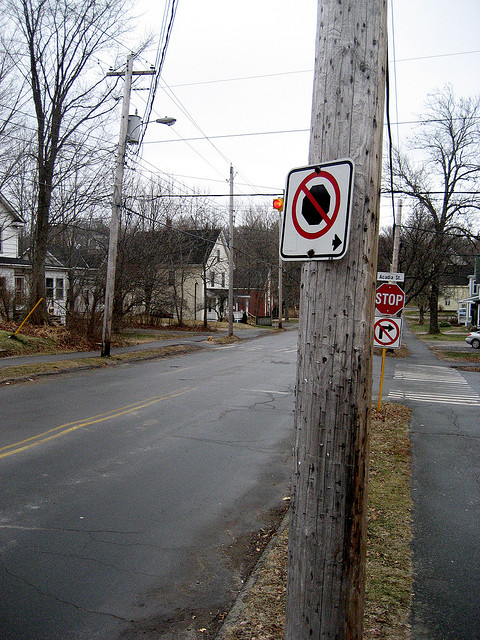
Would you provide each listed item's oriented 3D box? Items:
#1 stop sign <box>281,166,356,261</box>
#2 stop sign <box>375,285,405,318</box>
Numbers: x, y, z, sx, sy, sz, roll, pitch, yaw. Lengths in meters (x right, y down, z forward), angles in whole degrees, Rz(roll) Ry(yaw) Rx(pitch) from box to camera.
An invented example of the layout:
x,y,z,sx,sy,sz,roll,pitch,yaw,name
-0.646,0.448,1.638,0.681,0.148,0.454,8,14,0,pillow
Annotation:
x,y,z,sx,sy,sz,roll,pitch,yaw,name
0.378,-0.545,3.006,0.351,0.072,0.608,-4,-41,0,stop sign
2.996,-0.378,12.073,0.590,0.905,0.119,8,-6,3,stop sign
